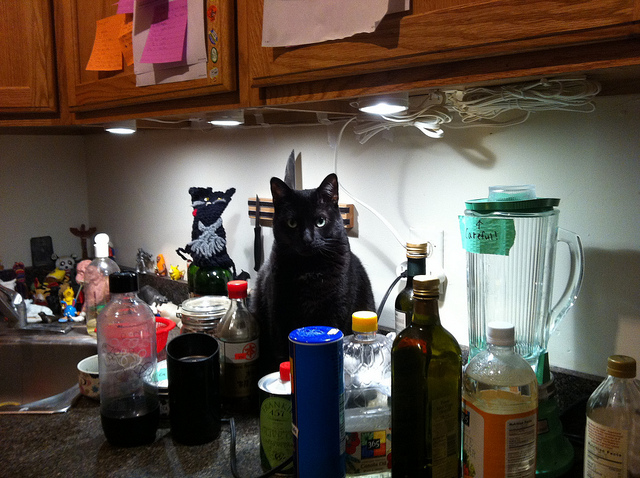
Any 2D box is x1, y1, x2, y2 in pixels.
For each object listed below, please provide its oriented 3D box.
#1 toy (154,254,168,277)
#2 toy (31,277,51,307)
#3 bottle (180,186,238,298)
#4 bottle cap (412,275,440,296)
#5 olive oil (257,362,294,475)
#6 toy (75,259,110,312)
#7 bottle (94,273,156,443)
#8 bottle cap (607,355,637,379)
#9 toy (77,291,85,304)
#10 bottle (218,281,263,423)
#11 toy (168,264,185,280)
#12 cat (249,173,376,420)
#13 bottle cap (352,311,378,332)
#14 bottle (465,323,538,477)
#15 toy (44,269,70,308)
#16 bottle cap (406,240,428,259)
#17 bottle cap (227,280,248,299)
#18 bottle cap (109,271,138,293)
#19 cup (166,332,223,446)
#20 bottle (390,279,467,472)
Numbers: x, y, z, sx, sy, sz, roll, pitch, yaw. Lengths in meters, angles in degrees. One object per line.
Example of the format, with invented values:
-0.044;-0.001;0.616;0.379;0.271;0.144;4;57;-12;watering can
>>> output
-0.602;0.102;1.826;0.041;0.077;0.045;-2;5;-19;toy
-1.103;0.215;1.899;0.080;0.117;0.071;-1;-33;-26;toy
-0.327;0.011;1.444;0.153;0.329;0.365;-2;5;-15;bottle
0.175;0.075;0.787;0.036;0.031;0.035;0;2;1;bottle cap
-0.087;0.354;0.929;0.062;0.214;0.133;-1;5;-8;olive oil
-0.768;0.165;1.625;0.080;0.182;0.142;-4;12;-22;toy
-0.423;0.282;1.058;0.121;0.309;0.122;-1;5;0;bottle
0.492;0.209;0.789;0.040;0.024;0.039;0;5;-6;bottle cap
-0.906;0.225;1.825;0.015;0.059;0.017;4;15;31;toy
-0.189;0.275;1.110;0.091;0.276;0.057;0;5;4;bottle
-0.528;0.128;1.758;0.034;0.045;0.060;0;-6;17;toy
-0.038;0.101;1.197;0.362;0.576;0.557;-1;-11;-3;cat
0.090;0.171;0.984;0.050;0.035;0.038;-2;5;-24;bottle cap
0.301;0.276;0.808;0.114;0.271;0.064;1;5;19;bottle
-1.030;0.193;1.928;0.068;0.147;0.112;12;-32;-43;toy
0.197;0.021;0.983;0.037;0.025;0.036;0;3;2;bottle cap
-0.191;0.116;1.107;0.041;0.041;0.051;-2;5;-14;bottle cap
-0.425;0.094;1.040;0.049;0.031;0.048;-3;2;-42;bottle cap
-0.270;0.325;1.037;0.110;0.228;0.082;-2;5;-17;cup
0.189;0.239;0.845;0.131;0.355;0.101;0;5;8;bottle
